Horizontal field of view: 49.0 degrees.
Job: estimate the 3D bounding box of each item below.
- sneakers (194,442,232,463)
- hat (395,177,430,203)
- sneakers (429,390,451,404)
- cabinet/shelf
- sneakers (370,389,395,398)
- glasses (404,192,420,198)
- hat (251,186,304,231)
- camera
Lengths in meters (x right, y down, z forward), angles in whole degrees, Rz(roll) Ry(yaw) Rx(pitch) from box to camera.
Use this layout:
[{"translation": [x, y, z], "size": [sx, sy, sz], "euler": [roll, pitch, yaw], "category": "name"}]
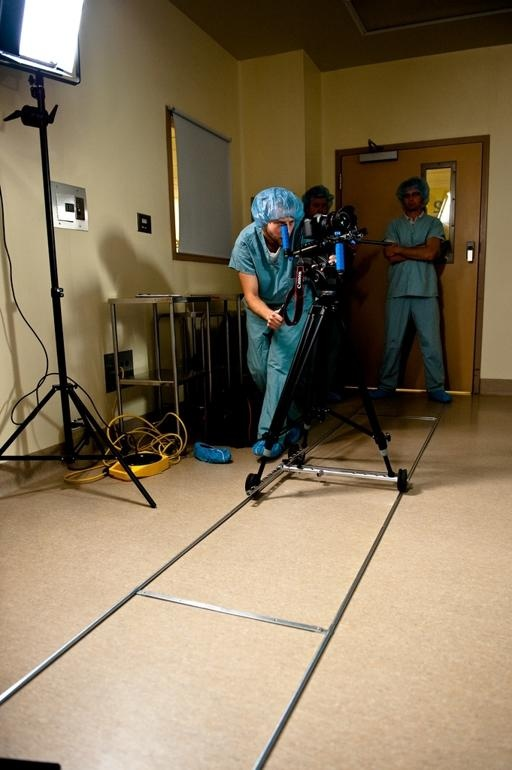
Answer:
[{"translation": [-0.215, 0.327, 2.684], "size": [0.195, 0.067, 0.200], "euler": [-2, 7, -2], "category": "sneakers"}, {"translation": [1.121, -1.389, 3.993], "size": [0.226, 0.186, 0.181], "euler": [-1, 7, 7], "category": "hat"}, {"translation": [1.333, 0.090, 4.050], "size": [0.068, 0.077, 0.184], "euler": [-3, 2, -8], "category": "sneakers"}, {"translation": [-0.463, -0.028, 3.012], "size": [0.291, 0.796, 0.825], "euler": [0, 6, 13], "category": "cabinet/shelf"}, {"translation": [0.946, 0.074, 4.233], "size": [0.195, 0.081, 0.072], "euler": [5, -5, -27], "category": "sneakers"}, {"translation": [1.098, -1.340, 3.936], "size": [0.103, 0.037, 0.048], "euler": [1, 7, 18], "category": "glasses"}, {"translation": [0.085, -0.704, 2.288], "size": [0.147, 0.154, 0.182], "euler": [-10, -4, -3], "category": "hat"}, {"translation": [0.205, -0.480, 1.977], "size": [0.265, 0.186, 0.377], "euler": [-9, 17, -35], "category": "camera"}]
